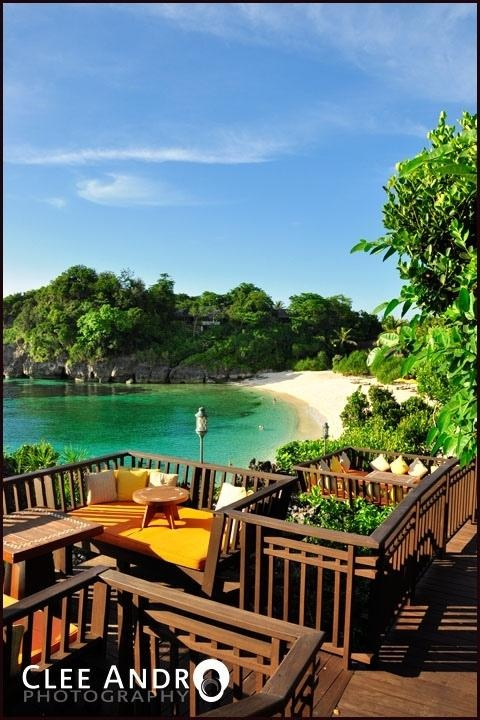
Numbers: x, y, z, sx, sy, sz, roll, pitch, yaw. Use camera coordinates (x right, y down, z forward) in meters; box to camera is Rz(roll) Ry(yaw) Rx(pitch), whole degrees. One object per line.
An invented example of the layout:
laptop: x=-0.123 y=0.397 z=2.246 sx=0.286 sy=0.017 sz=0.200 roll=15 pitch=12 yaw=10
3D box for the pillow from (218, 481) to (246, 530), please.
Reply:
pillow: x=-0.060 y=1.249 z=4.490 sx=0.140 sy=0.402 sz=0.382 roll=24 pitch=-21 yaw=-27

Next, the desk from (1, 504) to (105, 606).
desk: x=-1.540 y=1.540 z=4.110 sx=0.732 sy=0.566 sz=1.005 roll=1 pitch=0 yaw=-16
